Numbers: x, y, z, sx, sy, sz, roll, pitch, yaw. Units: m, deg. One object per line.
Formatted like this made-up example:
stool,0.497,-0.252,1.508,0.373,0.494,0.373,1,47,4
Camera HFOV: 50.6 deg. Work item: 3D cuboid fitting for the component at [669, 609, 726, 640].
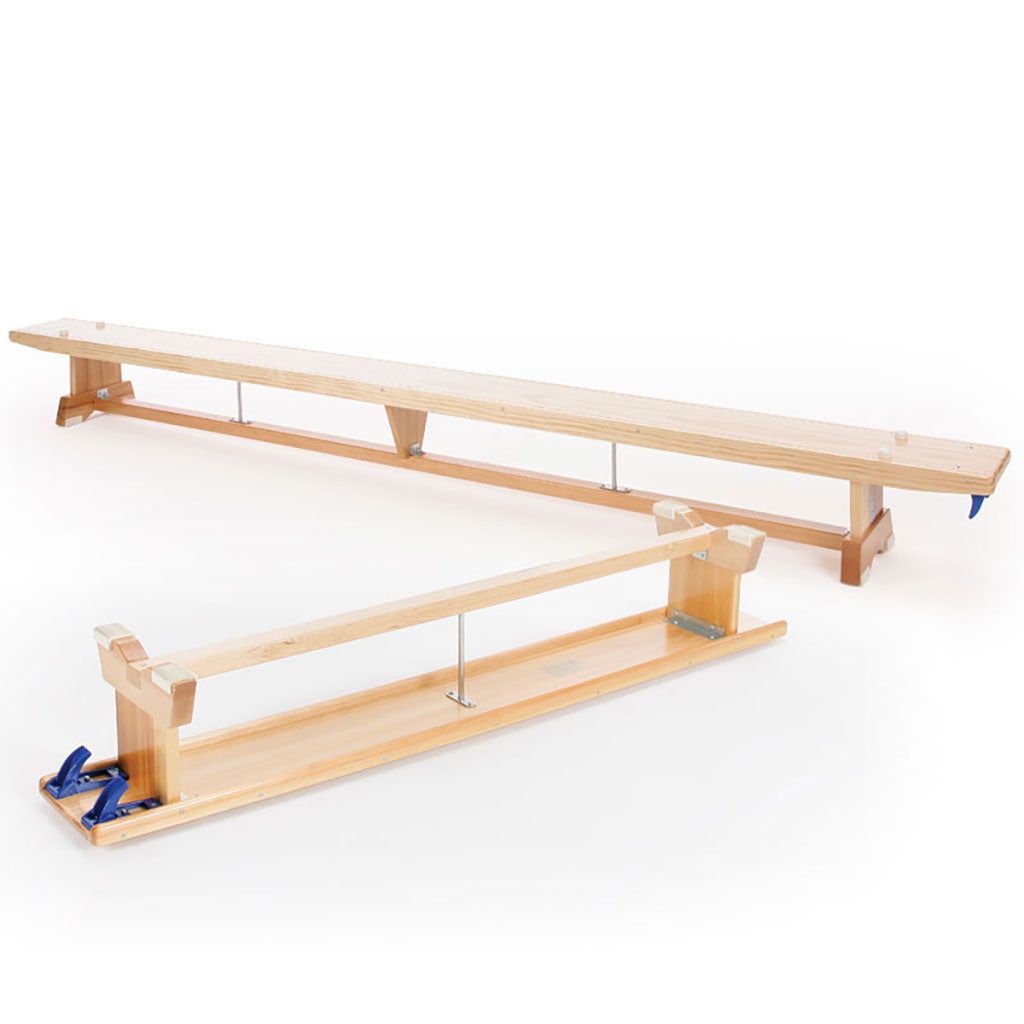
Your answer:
component,0.595,0.350,3.441,0.229,0.065,0.050,17,-10,35

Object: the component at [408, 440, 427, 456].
component,-0.411,-0.293,4.862,0.063,0.058,0.106,9,16,31

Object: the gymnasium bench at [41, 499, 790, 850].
gymnasium bench,-0.123,0.362,2.979,2.185,0.353,0.424,-11,17,-37
